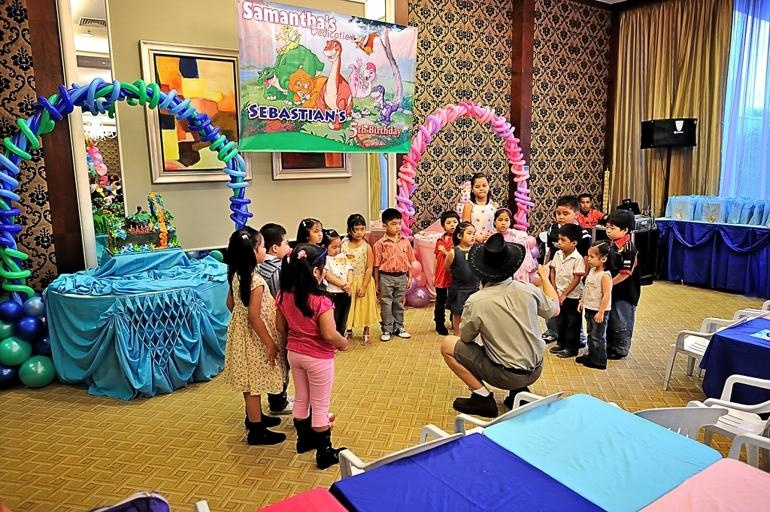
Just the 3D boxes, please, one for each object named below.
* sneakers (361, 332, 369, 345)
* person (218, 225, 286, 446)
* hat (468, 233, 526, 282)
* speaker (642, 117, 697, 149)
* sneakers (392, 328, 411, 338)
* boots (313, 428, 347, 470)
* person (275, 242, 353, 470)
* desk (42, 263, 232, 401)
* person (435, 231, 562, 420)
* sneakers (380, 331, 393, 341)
[{"bbox_3d":[-0.216,0.858,5.034,0.097,0.094,0.277,0,5,2],"label":"sneakers"},{"bbox_3d":[-0.927,0.590,3.377,0.400,1.579,0.283,-3,9,-16],"label":"person"},{"bbox_3d":[0.770,0.024,3.401,0.373,0.361,0.193,1,9,12],"label":"hat"},{"bbox_3d":[4.261,-1.843,7.432,0.799,0.464,0.552,1,6,7],"label":"speaker"},{"bbox_3d":[0.170,0.835,5.256,0.079,0.103,0.230,-5,5,-43],"label":"sneakers"},{"bbox_3d":[-0.379,1.315,3.344,0.280,0.278,0.142,6,-12,-36],"label":"boots"},{"bbox_3d":[-0.497,0.668,3.254,0.510,1.511,0.225,4,10,25],"label":"person"},{"bbox_3d":[-2.153,0.450,4.273,1.110,0.802,1.210,10,18,27],"label":"desk"},{"bbox_3d":[0.828,0.546,3.530,0.757,1.431,0.467,-3,9,-16],"label":"person"},{"bbox_3d":[0.004,0.849,5.137,0.091,0.086,0.201,0,-1,7],"label":"sneakers"}]
